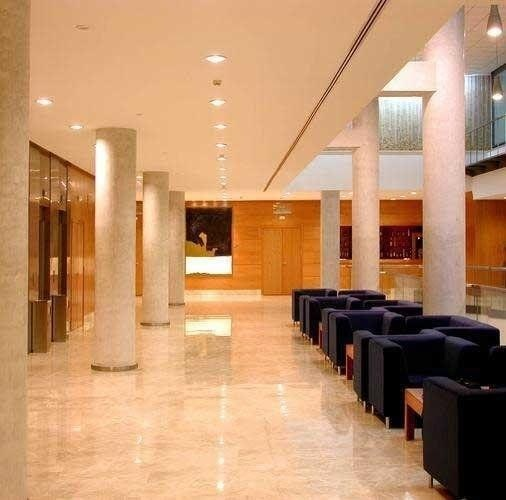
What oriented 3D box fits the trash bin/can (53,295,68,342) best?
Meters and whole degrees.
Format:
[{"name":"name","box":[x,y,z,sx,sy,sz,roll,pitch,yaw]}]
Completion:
[{"name":"trash bin/can","box":[-4.065,1.447,10.815,0.274,0.976,0.421,0,-1,-25]}]
